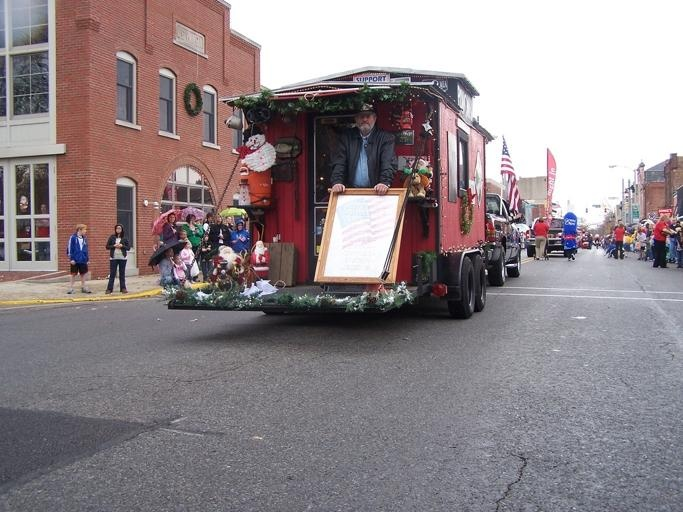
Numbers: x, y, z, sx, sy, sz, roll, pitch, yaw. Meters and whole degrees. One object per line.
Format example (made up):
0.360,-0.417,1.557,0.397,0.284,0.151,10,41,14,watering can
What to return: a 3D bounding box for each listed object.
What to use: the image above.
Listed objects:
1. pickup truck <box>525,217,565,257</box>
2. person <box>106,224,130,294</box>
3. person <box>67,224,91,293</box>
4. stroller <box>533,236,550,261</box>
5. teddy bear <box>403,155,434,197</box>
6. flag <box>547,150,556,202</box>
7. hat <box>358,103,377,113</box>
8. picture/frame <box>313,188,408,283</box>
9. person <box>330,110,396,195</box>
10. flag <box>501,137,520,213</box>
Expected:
12.719,-1.137,37.488,1.659,1.627,3.610,-1,6,21,pickup truck
-6.277,0.049,16.887,0.589,1.857,1.553,0,2,-20,person
-7.152,0.065,16.430,0.580,1.839,0.957,-1,2,-26,person
10.819,-0.421,32.720,0.541,1.201,1.128,1,2,13,stroller
1.246,-1.248,9.691,0.414,0.687,0.231,0,-4,16,teddy bear
14.006,-5.367,40.229,0.488,3.440,2.436,1,2,19,flag
0.417,-2.438,9.927,0.252,0.142,0.470,0,3,6,hat
0.366,-0.305,9.314,1.605,2.286,0.168,-2,-40,17,picture/frame
0.375,-1.821,10.116,0.992,1.630,1.046,1,-6,-1,person
6.618,-3.285,23.996,0.681,5.346,0.627,-14,-48,28,flag
